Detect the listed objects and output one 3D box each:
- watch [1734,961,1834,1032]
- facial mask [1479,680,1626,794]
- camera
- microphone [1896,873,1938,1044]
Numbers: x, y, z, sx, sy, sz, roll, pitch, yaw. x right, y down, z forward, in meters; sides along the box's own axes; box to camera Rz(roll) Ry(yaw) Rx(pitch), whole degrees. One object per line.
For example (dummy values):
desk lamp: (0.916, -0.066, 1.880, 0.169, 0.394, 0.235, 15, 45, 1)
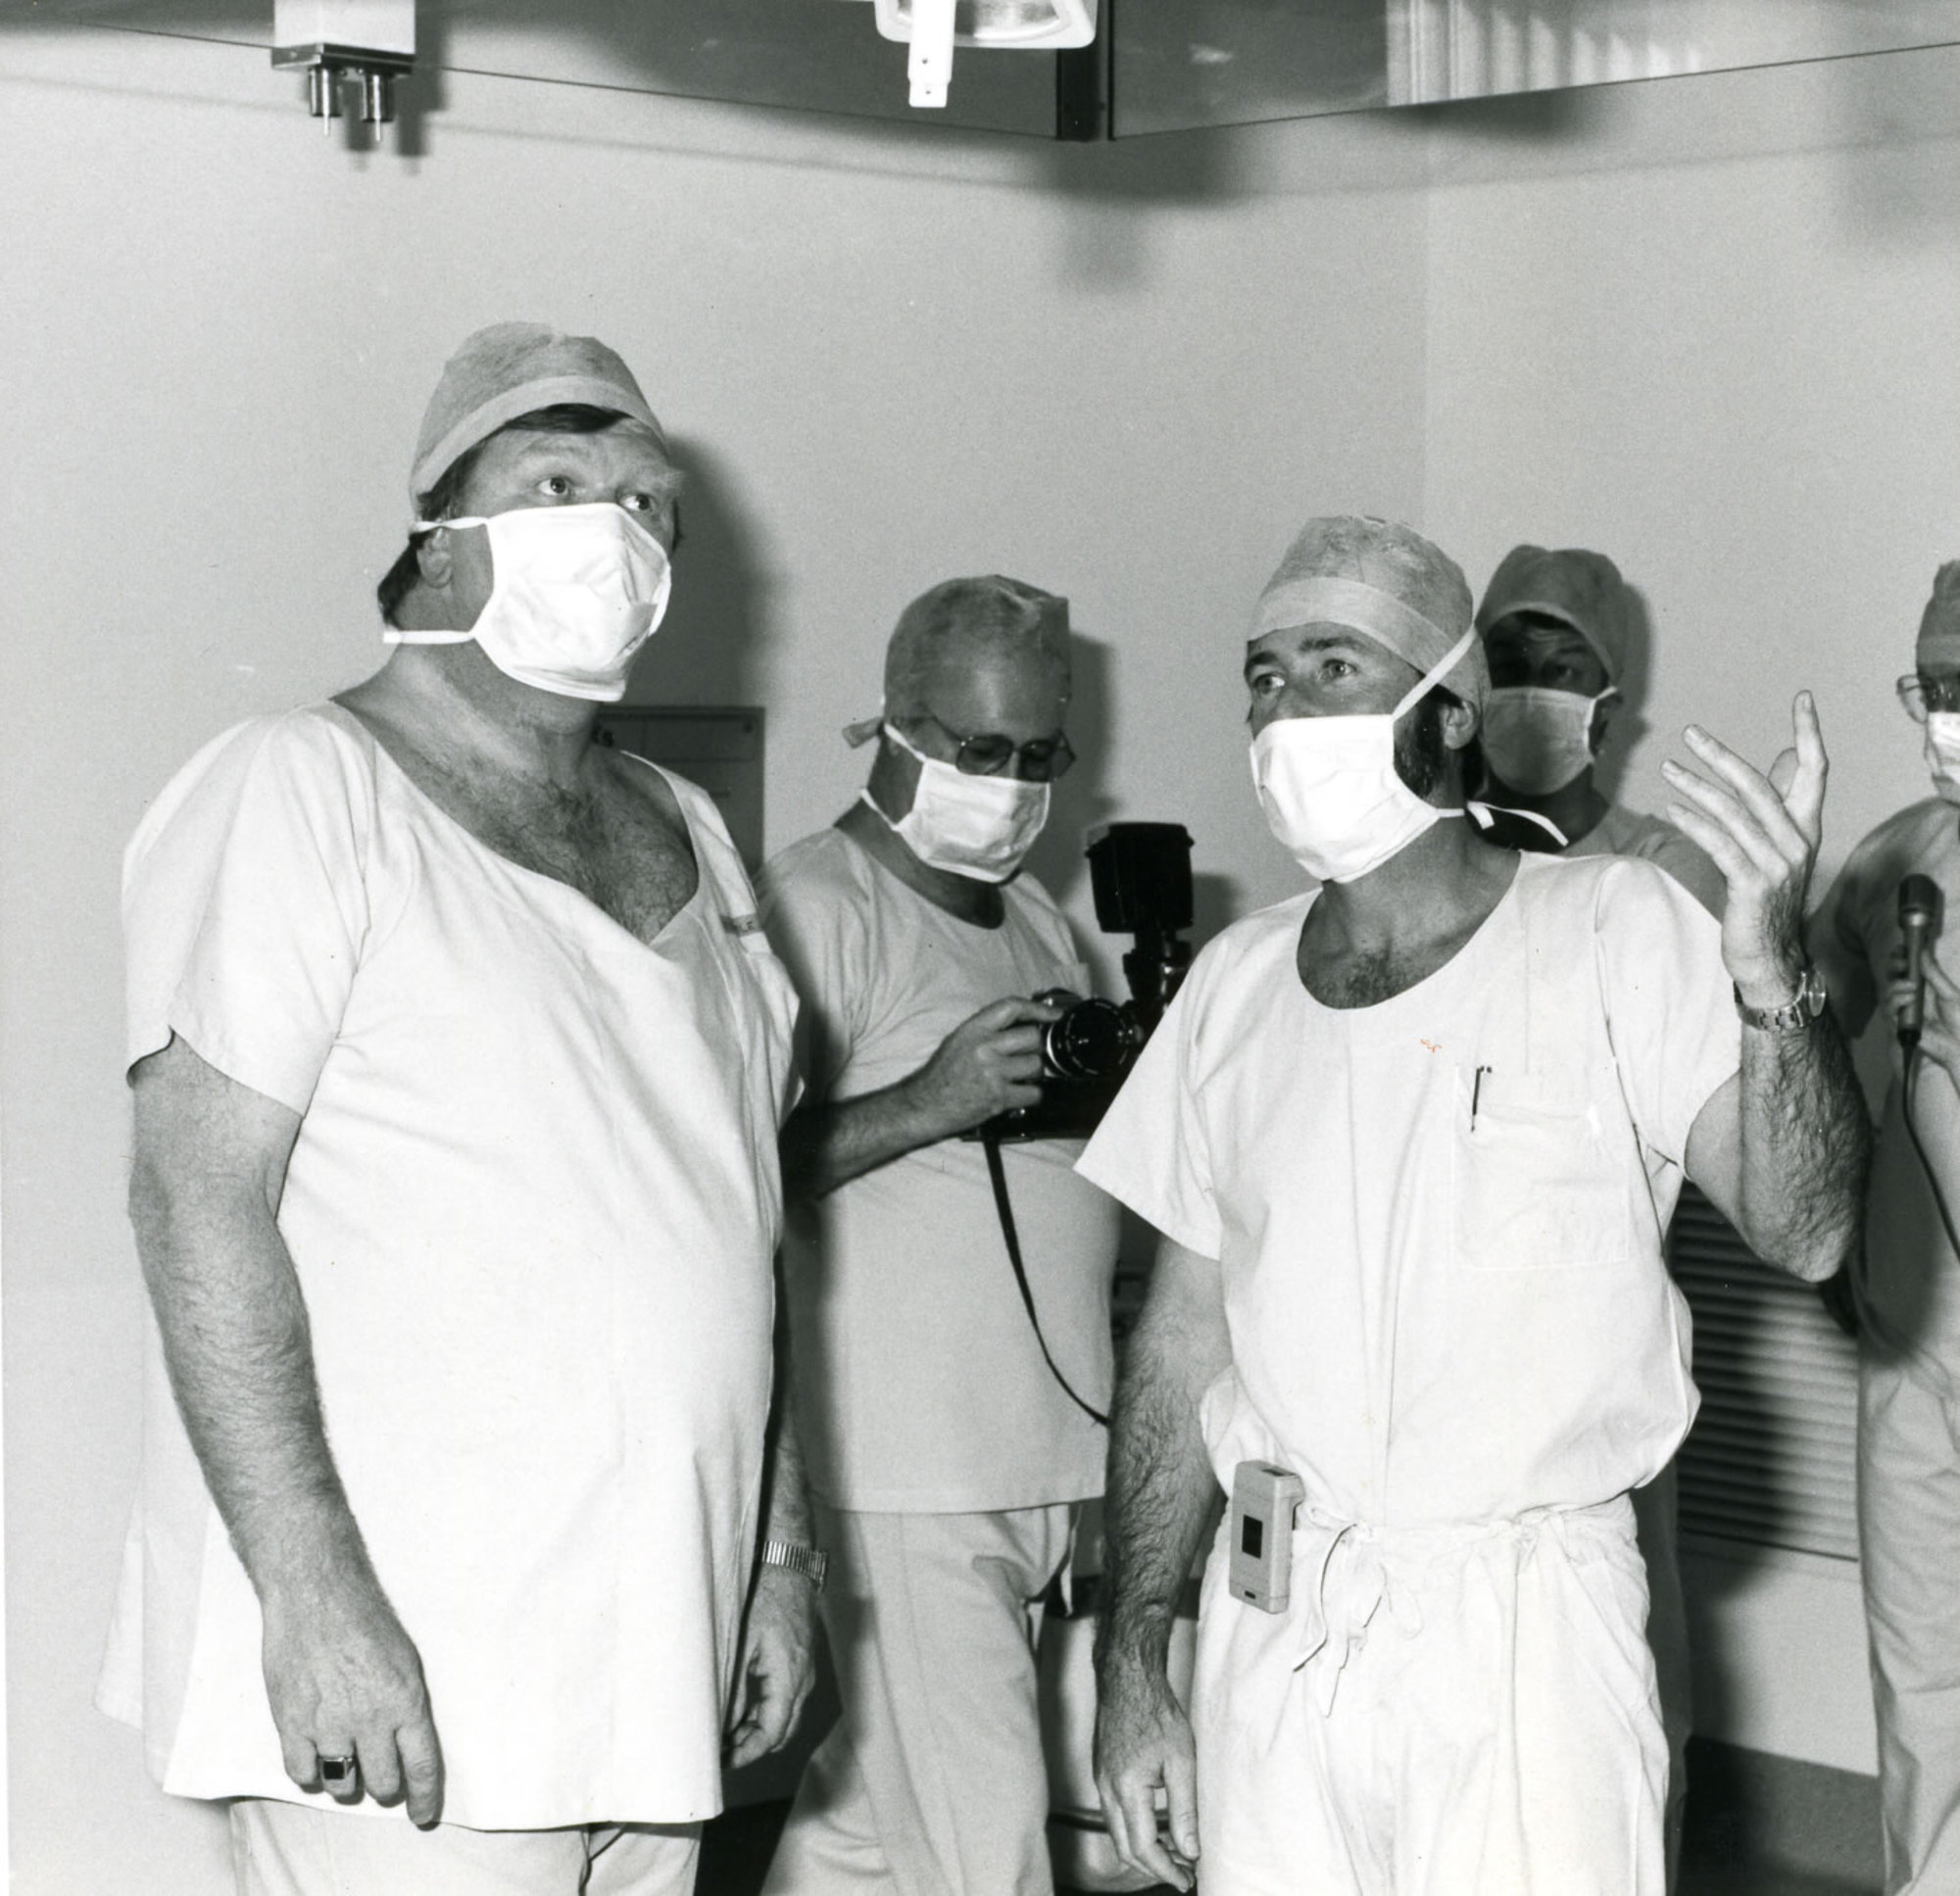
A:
watch: (0.637, 0.038, 2.111, 0.056, 0.029, 0.044, -2, -19, 43)
facial mask: (0.831, -0.309, 3.972, 0.183, 0.166, 0.219, 3, -8, 21)
camera: (0.160, 0.025, 3.171, 0.219, 0.389, 0.237, 0, 10, -27)
microphone: (1.188, 0.019, 3.397, 0.052, 0.213, 0.192, 4, 7, 19)
